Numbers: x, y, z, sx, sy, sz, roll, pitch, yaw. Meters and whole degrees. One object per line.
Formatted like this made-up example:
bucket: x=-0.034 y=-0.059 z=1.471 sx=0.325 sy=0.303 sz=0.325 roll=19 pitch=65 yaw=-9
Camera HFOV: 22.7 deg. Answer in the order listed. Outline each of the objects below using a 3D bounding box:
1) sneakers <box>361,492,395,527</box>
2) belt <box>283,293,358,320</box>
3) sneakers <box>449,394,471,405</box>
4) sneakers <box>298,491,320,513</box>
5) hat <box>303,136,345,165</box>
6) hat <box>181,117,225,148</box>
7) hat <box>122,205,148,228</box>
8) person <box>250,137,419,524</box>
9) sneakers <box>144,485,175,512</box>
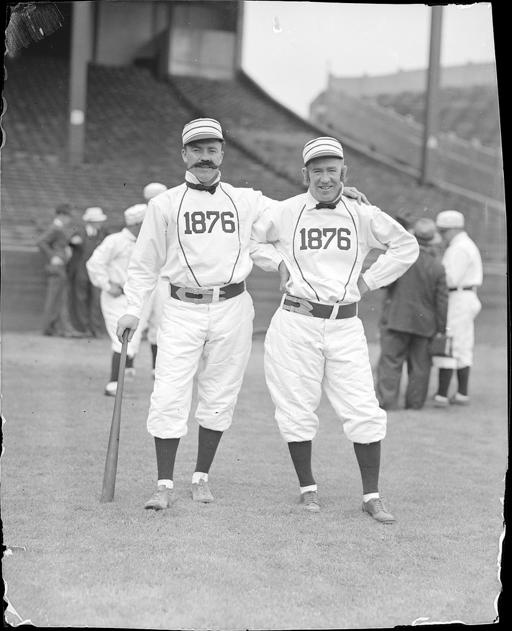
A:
sneakers: x=0.594 y=0.959 z=6.256 sx=0.074 sy=0.084 sz=0.202 roll=-10 pitch=14 yaw=-28
belt: x=0.314 y=-0.033 z=6.386 sx=0.377 sy=0.110 sz=0.121 roll=6 pitch=-4 yaw=2
sneakers: x=1.474 y=0.605 z=9.180 sx=0.073 sy=0.056 sz=0.124 roll=1 pitch=3 yaw=-16
sneakers: x=0.265 y=0.927 z=6.364 sx=0.102 sy=0.099 sz=0.171 roll=6 pitch=-4 yaw=0
hat: x=0.333 y=-0.824 z=6.337 sx=0.195 sy=0.159 sz=0.171 roll=6 pitch=-4 yaw=2
hat: x=-0.263 y=-0.917 z=6.343 sx=0.204 sy=0.162 sz=0.160 roll=6 pitch=-4 yaw=-2
hat: x=-0.850 y=-0.683 z=8.860 sx=0.161 sy=0.075 sz=0.227 roll=-14 pitch=7 yaw=-14
person: x=0.354 y=0.057 z=6.371 sx=0.839 sy=1.873 sz=0.359 roll=6 pitch=-4 yaw=-1
sneakers: x=-0.476 y=0.901 z=6.273 sx=0.108 sy=0.117 sz=0.177 roll=5 pitch=-4 yaw=17
